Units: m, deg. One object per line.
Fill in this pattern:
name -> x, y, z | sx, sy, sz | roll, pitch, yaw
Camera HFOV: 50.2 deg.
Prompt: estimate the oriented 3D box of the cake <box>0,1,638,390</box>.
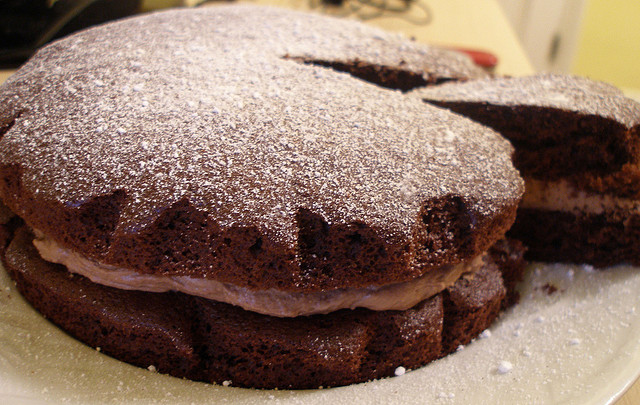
cake -> 0.012, 0.056, 1.654 | 1.210, 0.328, 0.949 | -2, 37, -11
